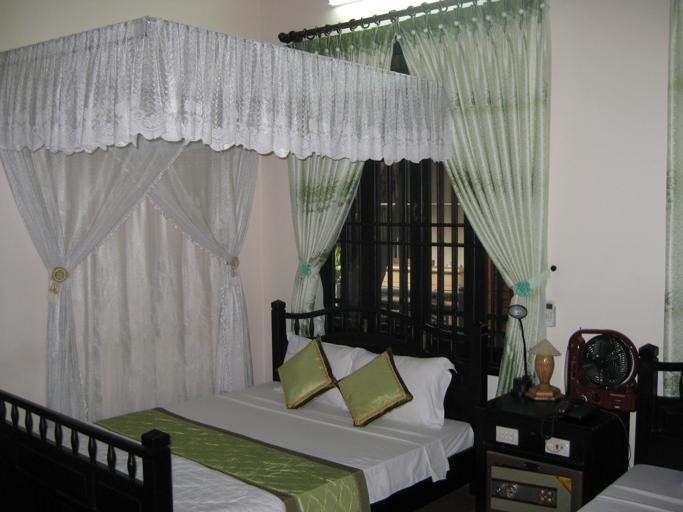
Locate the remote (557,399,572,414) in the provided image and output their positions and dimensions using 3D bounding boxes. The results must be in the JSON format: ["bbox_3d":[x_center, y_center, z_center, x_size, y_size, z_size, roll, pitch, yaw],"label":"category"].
[{"bbox_3d":[1.439,0.961,4.004,0.108,0.033,0.058,-19,21,-39],"label":"remote"}]

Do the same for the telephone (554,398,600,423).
[{"bbox_3d":[1.520,0.991,4.000,0.150,0.060,0.161,5,9,40],"label":"telephone"}]

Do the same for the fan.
[{"bbox_3d":[1.742,0.773,4.132,0.486,0.635,0.241,0,-1,38],"label":"fan"}]

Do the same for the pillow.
[{"bbox_3d":[0.268,0.952,4.789,1.196,0.469,0.370,5,7,34],"label":"pillow"}]

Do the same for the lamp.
[{"bbox_3d":[1.377,0.658,4.390,0.373,0.630,0.344,3,6,20],"label":"lamp"}]
